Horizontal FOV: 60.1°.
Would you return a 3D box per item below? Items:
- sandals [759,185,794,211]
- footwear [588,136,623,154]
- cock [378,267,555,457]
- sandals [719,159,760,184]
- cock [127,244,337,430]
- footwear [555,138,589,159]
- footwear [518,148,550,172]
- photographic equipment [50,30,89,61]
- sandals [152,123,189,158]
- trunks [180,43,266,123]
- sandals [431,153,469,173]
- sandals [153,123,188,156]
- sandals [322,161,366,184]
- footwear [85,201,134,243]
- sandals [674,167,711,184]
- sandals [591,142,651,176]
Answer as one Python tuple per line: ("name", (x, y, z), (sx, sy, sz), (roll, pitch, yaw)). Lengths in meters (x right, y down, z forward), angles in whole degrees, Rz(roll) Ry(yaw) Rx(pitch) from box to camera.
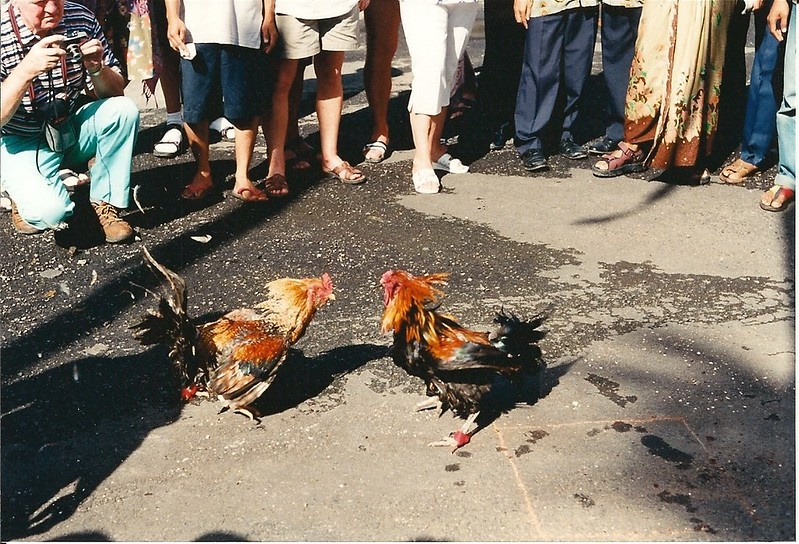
("sandals", (3.050, -0.595, 5.586), (0.222, 0.183, 0.172), (15, 30, 26))
("footwear", (1.946, -1.202, 6.525), (0.299, 0.114, 0.139), (-4, 33, -11))
("cock", (0.377, 0.486, 4.096), (1.133, 0.883, 0.588), (6, 1, -28))
("sandals", (2.950, -0.895, 6.020), (0.354, 0.119, 0.179), (-19, 28, -37))
("cock", (-0.992, 0.254, 4.357), (1.602, 1.344, 0.648), (-1, 28, -10))
("footwear", (1.643, -1.154, 6.590), (0.143, 0.111, 0.291), (-36, 46, -21))
("footwear", (1.235, -1.035, 6.401), (0.146, 0.106, 0.276), (-20, 29, -7))
("photographic equipment", (-2.262, -1.591, 4.820), (0.212, 0.101, 0.209), (-32, 59, -23))
("sandals", (-2.155, -1.250, 6.525), (0.201, 0.168, 0.407), (4, 31, 1))
("trunks", (-1.387, -1.514, 5.593), (0.702, 0.648, 0.402), (-1, -1, 3))
("sandals", (0.480, -1.015, 6.417), (0.315, 0.129, 0.167), (8, 36, 13))
("sandals", (-2.162, -1.269, 6.566), (0.197, 0.165, 0.399), (4, 30, 1))
("sandals", (-0.499, -0.892, 6.228), (0.380, 0.118, 0.176), (23, 41, 29))
("footwear", (-2.189, -0.380, 5.352), (0.462, 0.204, 0.182), (37, 46, 19))
("sandals", (2.559, -0.835, 6.046), (0.280, 0.174, 0.159), (2, 24, 21))
("sandals", (1.968, -0.992, 6.265), (0.598, 0.272, 0.230), (-10, 52, -5))
